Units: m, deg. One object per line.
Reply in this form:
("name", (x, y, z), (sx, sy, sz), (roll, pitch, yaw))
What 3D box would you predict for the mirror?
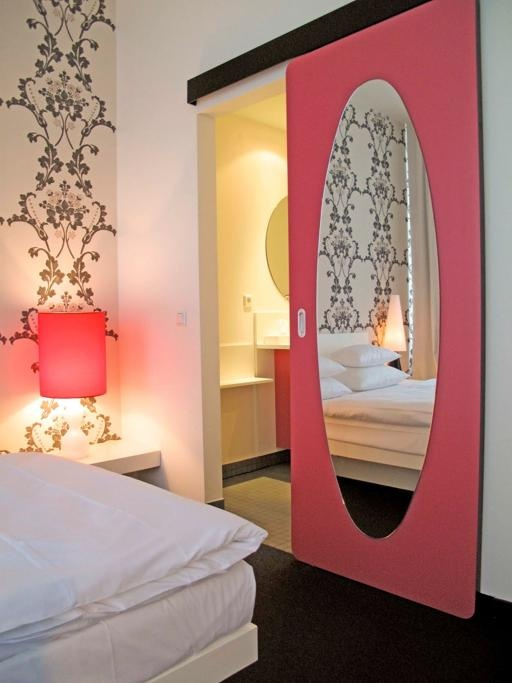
("mirror", (0.420, -0.106, 1.768), (0.121, 1.621, 0.514), (0, -2, -34))
